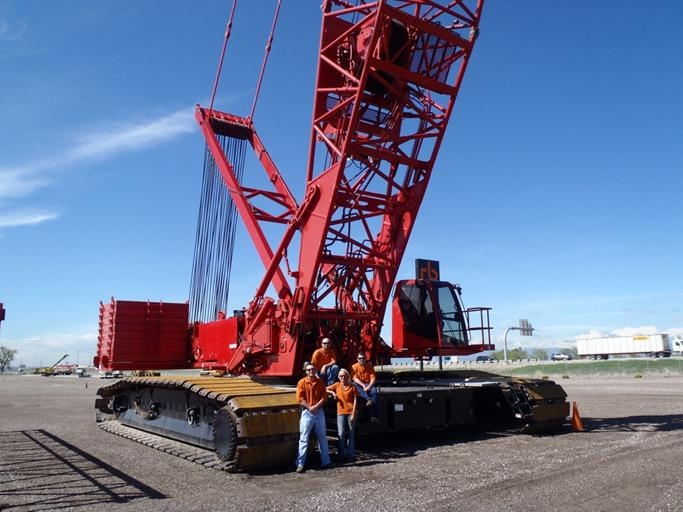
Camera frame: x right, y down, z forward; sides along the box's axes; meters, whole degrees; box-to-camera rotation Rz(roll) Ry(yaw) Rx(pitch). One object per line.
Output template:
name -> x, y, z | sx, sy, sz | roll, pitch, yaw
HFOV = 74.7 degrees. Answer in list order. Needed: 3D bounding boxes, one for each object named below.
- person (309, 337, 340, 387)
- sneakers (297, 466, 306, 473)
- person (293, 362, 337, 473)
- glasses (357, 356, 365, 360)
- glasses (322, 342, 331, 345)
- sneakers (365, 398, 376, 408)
person -> -0.439, 2.463, 10.386 | 0.721, 1.028, 0.640 | 2, 0, -27
sneakers -> -0.772, 4.033, 8.516 | 0.178, 0.101, 0.141 | 4, -15, -24
person -> -0.597, 3.162, 8.974 | 0.637, 2.000, 0.696 | -5, -14, 15
glasses -> 0.472, 2.396, 10.543 | 0.103, 0.064, 0.104 | 1, -28, 2
glasses -> -0.357, 2.004, 10.319 | 0.163, 0.061, 0.165 | 9, -16, -37
sneakers -> 0.661, 3.334, 10.229 | 0.179, 0.175, 0.308 | 10, -10, -7
